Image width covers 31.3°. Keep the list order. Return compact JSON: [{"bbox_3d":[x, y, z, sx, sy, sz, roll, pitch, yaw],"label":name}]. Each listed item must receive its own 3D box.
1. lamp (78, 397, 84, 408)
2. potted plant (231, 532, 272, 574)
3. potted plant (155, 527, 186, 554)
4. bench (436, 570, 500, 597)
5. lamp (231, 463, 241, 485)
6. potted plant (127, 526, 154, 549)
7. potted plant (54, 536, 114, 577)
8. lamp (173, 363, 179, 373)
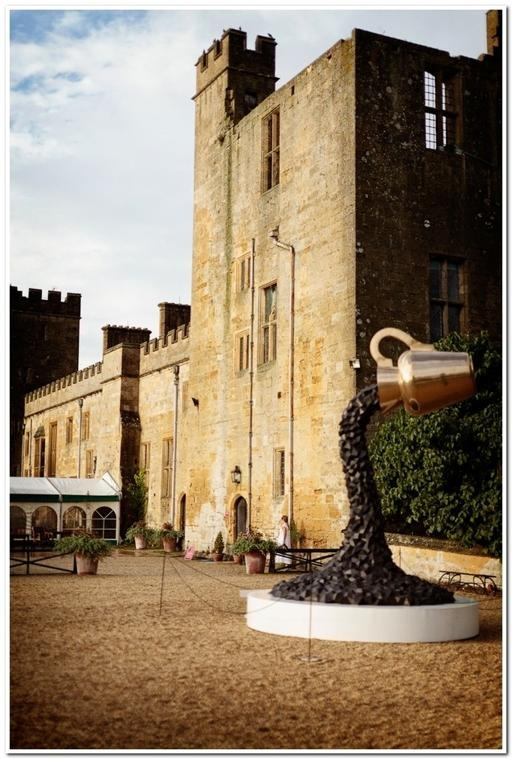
[{"bbox_3d":[-7.318,1.000,38.173,0.285,0.410,0.319,-1,-9,1],"label":"lamp"},{"bbox_3d":[-0.104,3.202,16.877,0.681,0.828,0.682,2,-14,-16],"label":"potted plant"},{"bbox_3d":[-2.484,4.684,26.491,0.656,0.746,0.704,-5,-7,27],"label":"potted plant"},{"bbox_3d":[3.048,2.899,13.124,0.658,0.291,1.618,1,-7,-13],"label":"bench"},{"bbox_3d":[-0.468,2.265,21.344,0.135,0.434,0.563,1,-6,-15],"label":"lamp"},{"bbox_3d":[-3.534,4.833,28.011,0.790,0.902,0.873,1,-2,6],"label":"potted plant"},{"bbox_3d":[-3.021,3.083,16.204,0.721,0.621,0.796,0,-9,5],"label":"potted plant"},{"bbox_3d":[-2.523,-0.337,28.774,0.128,0.462,0.233,3,-7,-27],"label":"lamp"}]
